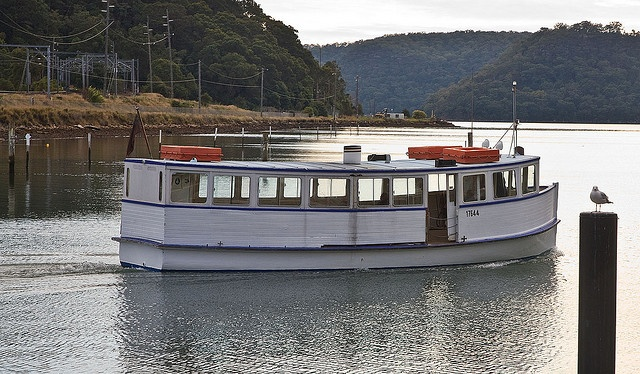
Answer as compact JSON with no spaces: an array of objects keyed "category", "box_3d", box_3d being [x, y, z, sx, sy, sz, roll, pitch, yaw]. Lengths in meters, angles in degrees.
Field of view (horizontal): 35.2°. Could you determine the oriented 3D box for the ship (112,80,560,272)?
[{"category":"ship","box_3d":[0.845,1.139,56.781,23.410,6.869,2.244,0,4,-6]}]
